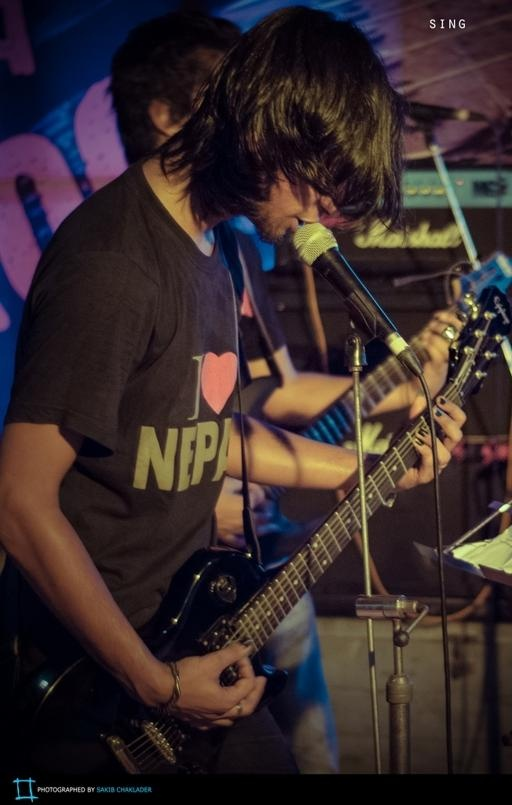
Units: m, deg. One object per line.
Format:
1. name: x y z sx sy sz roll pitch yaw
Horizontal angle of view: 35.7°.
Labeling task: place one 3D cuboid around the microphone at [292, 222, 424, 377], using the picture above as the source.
1. microphone: 0.285 -0.282 2.087 0.138 0.575 0.141 -48 8 2

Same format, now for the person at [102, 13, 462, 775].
1. person: -0.029 -0.096 2.302 0.306 2.204 0.946 -5 1 40

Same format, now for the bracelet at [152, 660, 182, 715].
1. bracelet: -0.176 0.578 1.602 0.040 0.085 0.073 3 -1 -8
